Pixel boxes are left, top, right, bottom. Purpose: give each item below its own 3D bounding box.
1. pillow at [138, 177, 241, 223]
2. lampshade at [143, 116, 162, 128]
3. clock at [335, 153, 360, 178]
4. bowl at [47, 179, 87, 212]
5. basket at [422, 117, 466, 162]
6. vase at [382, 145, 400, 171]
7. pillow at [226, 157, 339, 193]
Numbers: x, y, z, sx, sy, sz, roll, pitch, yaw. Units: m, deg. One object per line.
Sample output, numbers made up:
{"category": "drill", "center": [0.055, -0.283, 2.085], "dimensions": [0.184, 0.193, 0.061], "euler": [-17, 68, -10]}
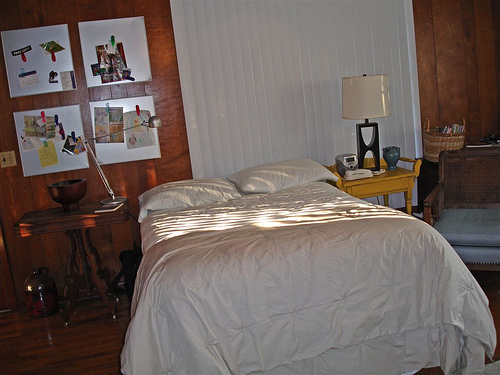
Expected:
{"category": "pillow", "center": [-0.525, 0.047, 3.227], "dimensions": [0.541, 0.147, 0.455], "euler": [-4, 16, -8]}
{"category": "lampshade", "center": [-0.868, -0.570, 3.383], "dimensions": [0.131, 0.099, 0.275], "euler": [-16, 16, -33]}
{"category": "clock", "center": [0.961, -0.210, 3.853], "dimensions": [0.187, 0.230, 0.252], "euler": [-6, 8, 1]}
{"category": "bowl", "center": [-1.509, 0.049, 3.270], "dimensions": [0.278, 0.228, 0.277], "euler": [-2, 14, 0]}
{"category": "basket", "center": [1.964, -0.501, 3.993], "dimensions": [0.396, 0.435, 0.477], "euler": [1, 15, 30]}
{"category": "vase", "center": [1.418, -0.312, 3.965], "dimensions": [0.228, 0.299, 0.227], "euler": [1, 11, 18]}
{"category": "pillow", "center": [0.249, -0.093, 3.596], "dimensions": [0.883, 0.257, 0.640], "euler": [-11, 15, -18]}
